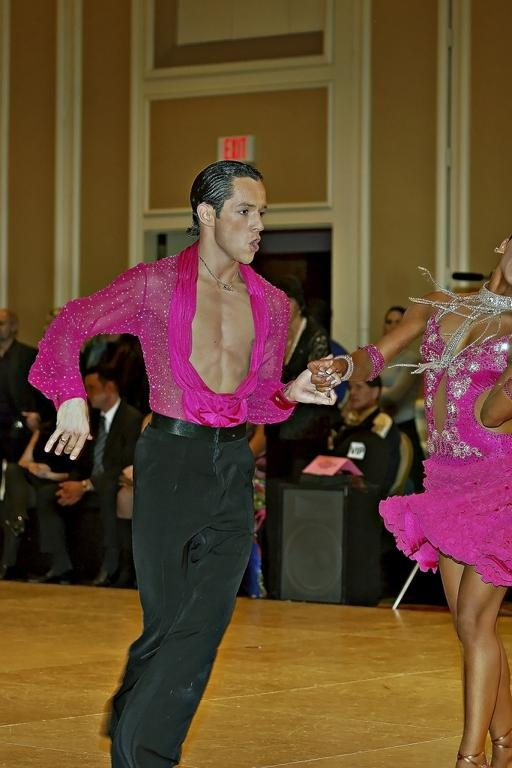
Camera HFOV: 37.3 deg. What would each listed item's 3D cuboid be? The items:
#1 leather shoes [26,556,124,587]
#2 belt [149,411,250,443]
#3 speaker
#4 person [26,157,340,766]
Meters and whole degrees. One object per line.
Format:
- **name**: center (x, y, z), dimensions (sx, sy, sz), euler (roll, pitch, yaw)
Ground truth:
- **leather shoes**: center (-1.190, 1.272, 5.217), dimensions (0.750, 0.246, 0.213), euler (3, -6, 6)
- **belt**: center (-0.124, 0.092, 1.584), dimensions (0.212, 0.062, 0.111), euler (2, -7, -7)
- **speaker**: center (0.528, 1.028, 4.783), dimensions (0.695, 0.722, 0.660), euler (-5, -15, 27)
- **person**: center (-0.146, 0.151, 1.648), dimensions (0.342, 1.286, 0.687), euler (-5, -10, 40)
